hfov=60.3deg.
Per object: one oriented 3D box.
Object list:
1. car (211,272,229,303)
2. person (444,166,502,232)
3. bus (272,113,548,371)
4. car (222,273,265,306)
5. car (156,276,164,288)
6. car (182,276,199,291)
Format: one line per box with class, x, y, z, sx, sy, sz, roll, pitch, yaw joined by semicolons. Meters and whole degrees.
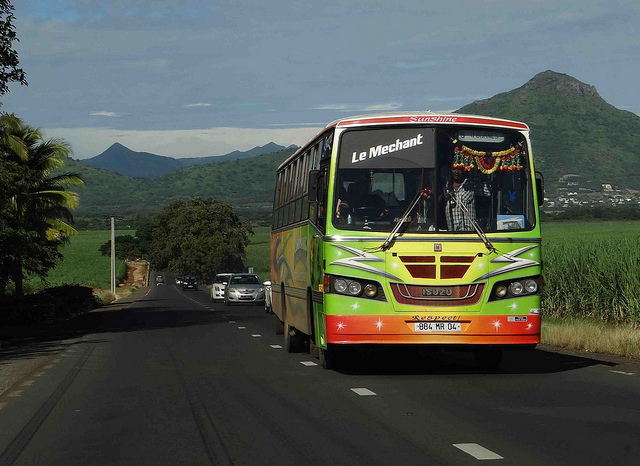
car;-8.224;4.368;45.267;1.390;1.442;2.838;0;-6;-10
person;2.481;-0.554;9.182;0.945;0.996;0.364;1;2;-2
bus;1.353;0.157;12.777;2.998;3.109;7.053;1;-2;-7
car;-5.469;4.032;39.142;2.398;1.740;4.085;1;-10;-7
car;-35.591;10.383;121.266;1.852;2.432;1.165;0;-8;-3
car;-20.707;7.890;87.281;2.077;1.664;3.735;1;-7;-11
